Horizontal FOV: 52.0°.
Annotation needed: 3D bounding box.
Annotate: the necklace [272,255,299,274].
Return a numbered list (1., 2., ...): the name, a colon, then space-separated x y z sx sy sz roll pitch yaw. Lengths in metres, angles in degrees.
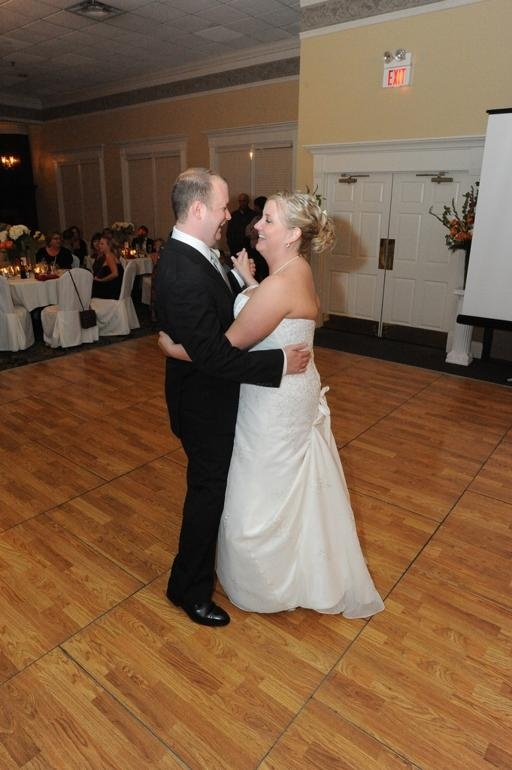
1. necklace: 0.095 -0.367 1.617 0.077 0.052 0.094 1 20 2

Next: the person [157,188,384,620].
1. person: 0.000 0.047 1.826 0.730 1.371 0.743 -9 21 -39

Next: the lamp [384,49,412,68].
1. lamp: 1.421 -3.318 5.339 0.048 0.141 0.305 -18 26 -40

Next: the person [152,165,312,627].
1. person: -0.133 0.113 1.793 0.373 1.580 0.503 -16 26 -36

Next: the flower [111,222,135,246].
1. flower: -2.247 -2.567 8.889 0.422 0.400 0.410 3 7 9

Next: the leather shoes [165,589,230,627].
1. leather shoes: -0.223 0.828 2.005 0.246 0.099 0.091 11 16 24

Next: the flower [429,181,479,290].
1. flower: 1.999 -1.541 5.378 0.373 1.004 0.942 3 20 8

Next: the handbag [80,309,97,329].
1. handbag: -1.924 -0.763 6.066 0.100 0.175 0.181 24 37 38
